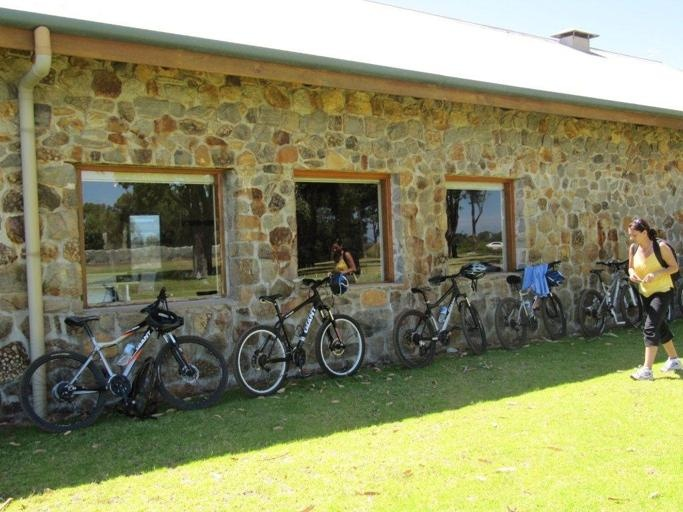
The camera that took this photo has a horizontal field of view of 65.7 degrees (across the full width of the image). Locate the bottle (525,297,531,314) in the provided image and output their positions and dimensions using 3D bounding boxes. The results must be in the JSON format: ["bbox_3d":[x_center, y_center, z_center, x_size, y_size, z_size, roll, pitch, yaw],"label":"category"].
[{"bbox_3d":[2.992,0.803,8.576,0.143,0.217,0.065,9,-6,-21],"label":"bottle"}]

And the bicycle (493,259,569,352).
[{"bbox_3d":[3.139,0.773,8.623,1.877,1.250,0.720,-3,-9,-35],"label":"bicycle"}]

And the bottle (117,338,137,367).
[{"bbox_3d":[-2.391,1.108,6.000,0.172,0.346,0.079,16,-19,14],"label":"bottle"}]

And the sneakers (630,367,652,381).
[{"bbox_3d":[3.535,1.391,6.265,0.290,0.155,0.118,0,0,9],"label":"sneakers"}]

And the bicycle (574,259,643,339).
[{"bbox_3d":[4.770,0.714,9.349,1.797,1.201,0.822,-5,-1,-28],"label":"bicycle"}]

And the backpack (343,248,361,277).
[{"bbox_3d":[0.171,0.110,7.816,0.267,0.399,0.388,-7,-24,-7],"label":"backpack"}]

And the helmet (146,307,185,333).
[{"bbox_3d":[-2.011,0.717,5.995,0.312,0.124,0.259,6,2,38],"label":"helmet"}]

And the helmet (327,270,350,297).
[{"bbox_3d":[-0.040,0.360,7.065,0.218,0.309,0.269,9,-1,-30],"label":"helmet"}]

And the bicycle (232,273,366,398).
[{"bbox_3d":[-0.513,1.011,6.837,1.919,1.380,0.896,-3,-7,-33],"label":"bicycle"}]

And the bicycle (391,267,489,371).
[{"bbox_3d":[1.523,0.855,7.775,1.925,1.343,0.943,-6,-9,-30],"label":"bicycle"}]
